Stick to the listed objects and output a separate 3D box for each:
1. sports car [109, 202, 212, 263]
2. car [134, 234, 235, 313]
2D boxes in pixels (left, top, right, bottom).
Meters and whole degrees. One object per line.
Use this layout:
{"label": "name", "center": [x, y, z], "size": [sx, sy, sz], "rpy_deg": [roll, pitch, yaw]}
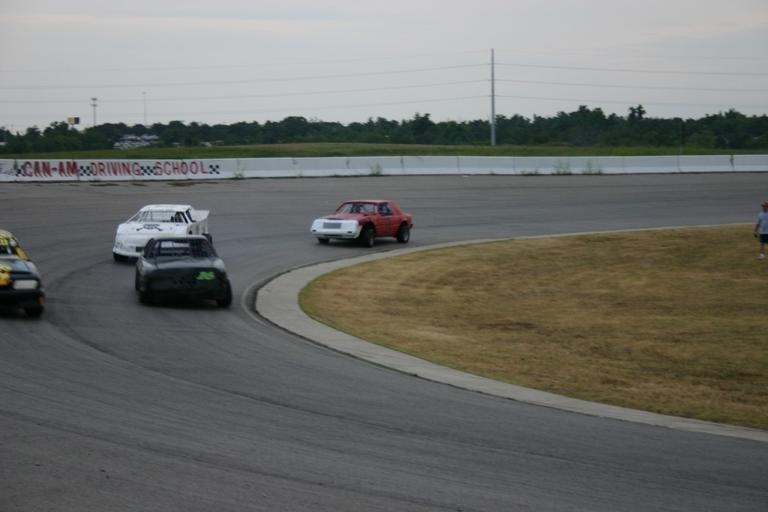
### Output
{"label": "sports car", "center": [-5.597, -0.729, 26.350], "size": [1.531, 0.751, 2.759], "rpy_deg": [2, 4, 8]}
{"label": "car", "center": [-4.290, 0.290, 21.693], "size": [1.501, 0.752, 2.107], "rpy_deg": [0, 14, -12]}
